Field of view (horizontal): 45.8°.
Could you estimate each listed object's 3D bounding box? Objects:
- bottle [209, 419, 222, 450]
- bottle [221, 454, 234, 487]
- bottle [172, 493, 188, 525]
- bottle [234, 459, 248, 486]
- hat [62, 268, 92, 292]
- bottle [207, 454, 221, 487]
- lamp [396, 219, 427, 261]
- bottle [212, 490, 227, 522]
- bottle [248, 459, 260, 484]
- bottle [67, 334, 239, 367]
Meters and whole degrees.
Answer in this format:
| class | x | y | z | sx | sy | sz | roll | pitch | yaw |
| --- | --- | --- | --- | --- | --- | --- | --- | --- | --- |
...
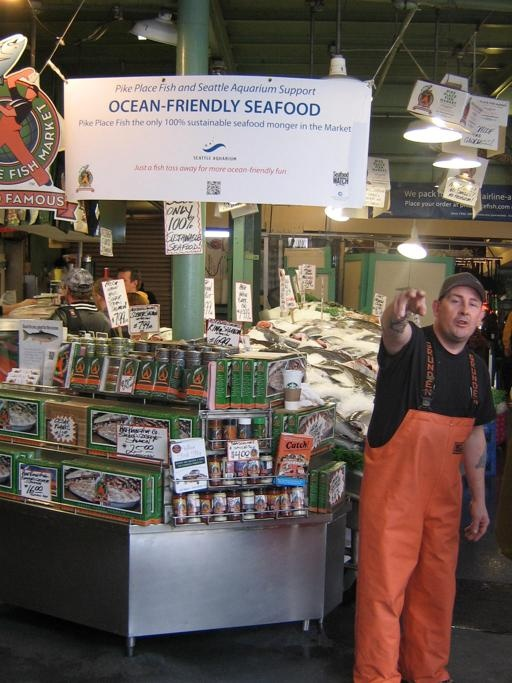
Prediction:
| class | x | y | z | sx | sy | sz | roll | pitch | yaw |
| --- | --- | --- | --- | --- | --- | --- | --- | --- | --- |
| bottle | -0.177 | 0.405 | 2.656 | 0.073 | 0.133 | 0.041 | 3 | -2 | -17 |
| bottle | -0.122 | 0.563 | 2.617 | 0.061 | 0.117 | 0.034 | 3 | -2 | -5 |
| bottle | -0.320 | 0.708 | 2.550 | 0.062 | 0.125 | 0.024 | 3 | -2 | -5 |
| bottle | -0.068 | 0.571 | 2.637 | 0.061 | 0.104 | 0.025 | 3 | -2 | -8 |
| hat | -1.269 | -0.452 | 4.333 | 0.167 | 0.189 | 0.291 | 3 | -2 | -25 |
| bottle | -0.179 | 0.557 | 2.607 | 0.063 | 0.122 | 0.027 | 4 | -2 | -29 |
| lamp | 1.960 | -1.296 | 7.631 | 0.304 | 0.494 | 0.817 | 2 | -2 | 14 |
| bottle | -0.156 | 0.706 | 2.595 | 0.069 | 0.124 | 0.013 | 3 | -2 | -22 |
| bottle | -0.012 | 0.568 | 2.652 | 0.055 | 0.108 | 0.030 | 3 | -2 | -8 |
| bottle | -0.533 | 0.041 | 2.977 | 0.915 | 0.137 | 0.362 | 1 | -2 | 23 |
